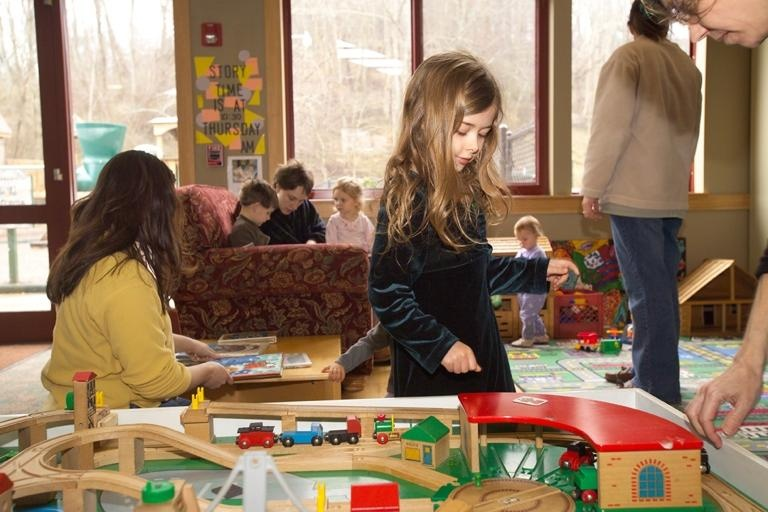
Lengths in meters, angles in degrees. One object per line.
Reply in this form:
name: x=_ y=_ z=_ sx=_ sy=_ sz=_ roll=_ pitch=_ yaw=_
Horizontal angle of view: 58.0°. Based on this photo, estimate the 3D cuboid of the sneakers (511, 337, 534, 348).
sneakers: x=0.844 y=0.534 z=4.298 sx=0.122 sy=0.050 sz=0.060 roll=3 pitch=1 yaw=4

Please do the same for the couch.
couch: x=-0.570 y=0.091 z=3.596 sx=0.885 sy=0.839 sz=0.858 roll=-1 pitch=3 yaw=-11
